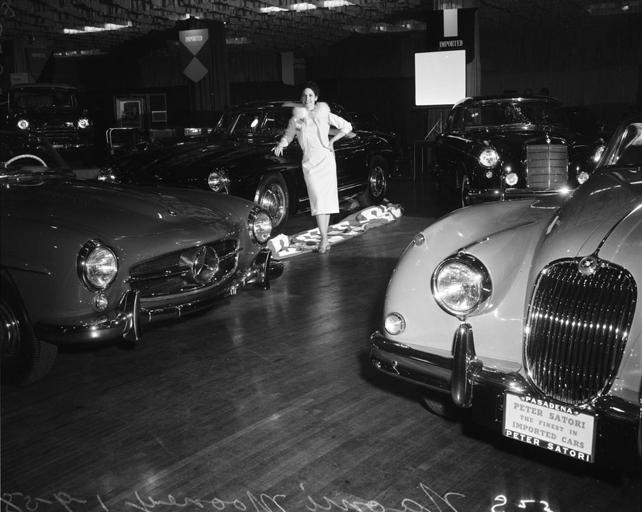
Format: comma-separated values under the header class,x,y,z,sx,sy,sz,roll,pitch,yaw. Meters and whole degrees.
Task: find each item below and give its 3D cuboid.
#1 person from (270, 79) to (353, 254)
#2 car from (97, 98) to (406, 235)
class,x,y,z,sx,sy,sz,roll,pitch,yaw
person,-0.062,-1.176,6.678,0.949,2.101,0.956,-1,11,-1
car,-0.728,-1.254,7.374,1.869,1.372,3.675,6,11,34
